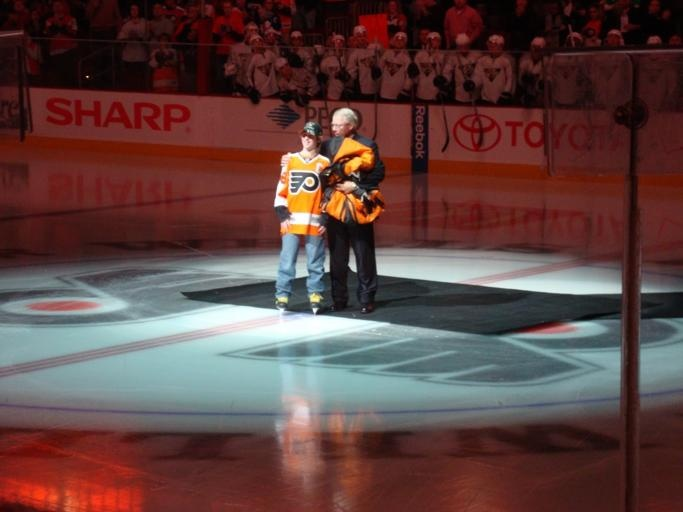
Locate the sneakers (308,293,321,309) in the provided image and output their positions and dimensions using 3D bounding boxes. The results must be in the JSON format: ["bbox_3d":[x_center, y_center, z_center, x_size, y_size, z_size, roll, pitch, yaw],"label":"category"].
[{"bbox_3d":[-0.276,0.491,8.202,0.094,0.083,0.215,5,14,2],"label":"sneakers"}]

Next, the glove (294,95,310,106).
[{"bbox_3d":[-0.977,-3.923,19.263,0.383,0.315,0.070,8,18,30],"label":"glove"}]

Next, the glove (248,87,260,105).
[{"bbox_3d":[-2.240,-4.164,19.854,0.391,0.424,0.120,-1,39,26],"label":"glove"}]

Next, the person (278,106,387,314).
[{"bbox_3d":[0.113,-0.476,8.140,0.655,2.152,0.529,3,16,12],"label":"person"}]
